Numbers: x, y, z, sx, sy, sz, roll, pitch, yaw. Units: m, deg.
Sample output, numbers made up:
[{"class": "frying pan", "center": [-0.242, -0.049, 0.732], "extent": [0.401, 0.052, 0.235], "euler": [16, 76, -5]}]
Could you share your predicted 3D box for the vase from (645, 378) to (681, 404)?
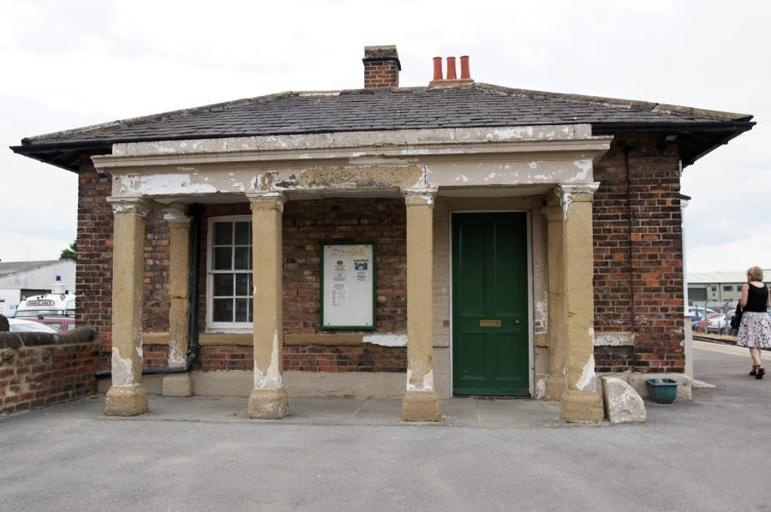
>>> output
[{"class": "vase", "center": [4.526, 2.207, 14.125], "extent": [0.404, 0.267, 0.428], "euler": [0, -14, 6]}]
